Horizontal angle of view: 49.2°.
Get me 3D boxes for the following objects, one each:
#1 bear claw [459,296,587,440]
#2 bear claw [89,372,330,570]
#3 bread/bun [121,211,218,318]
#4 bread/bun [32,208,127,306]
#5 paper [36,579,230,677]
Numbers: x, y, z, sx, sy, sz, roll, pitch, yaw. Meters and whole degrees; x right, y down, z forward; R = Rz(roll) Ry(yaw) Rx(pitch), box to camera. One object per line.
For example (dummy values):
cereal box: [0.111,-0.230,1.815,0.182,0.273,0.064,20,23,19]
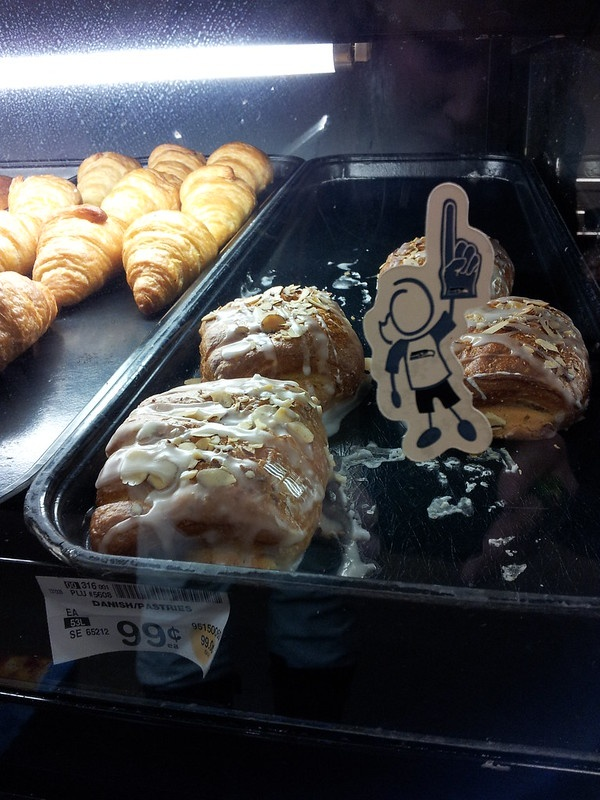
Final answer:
bear claw: [0.304,-0.047,0.897,0.190,0.080,0.230,4,38,9]
bear claw: [-0.096,0.069,0.801,0.281,0.098,0.316,0,34,-4]
bread/bun: [-0.261,-0.265,1.308,0.170,0.107,0.277,-11,39,14]
bread/bun: [-0.458,-0.291,1.357,0.137,0.098,0.239,10,35,-1]
paper: [-0.169,0.233,0.686,0.188,0.098,0.007,5,34,0]
